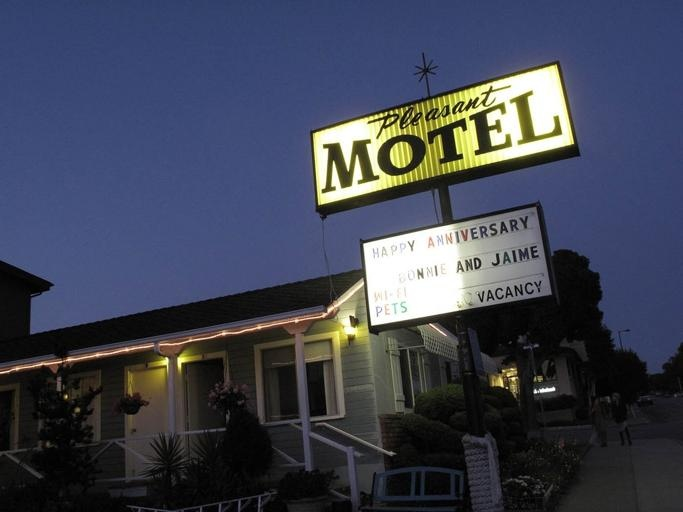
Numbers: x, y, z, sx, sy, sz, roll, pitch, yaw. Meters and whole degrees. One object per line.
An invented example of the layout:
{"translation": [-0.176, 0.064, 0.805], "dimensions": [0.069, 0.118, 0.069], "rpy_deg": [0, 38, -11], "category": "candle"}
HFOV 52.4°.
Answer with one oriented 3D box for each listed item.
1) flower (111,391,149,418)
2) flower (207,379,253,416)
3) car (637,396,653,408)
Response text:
{"translation": [-5.388, 3.839, 17.896], "dimensions": [0.675, 0.511, 0.665], "rpy_deg": [12, -18, -43], "category": "flower"}
{"translation": [-2.646, 3.355, 16.407], "dimensions": [0.927, 0.922, 0.966], "rpy_deg": [-3, 2, -7], "category": "flower"}
{"translation": [30.926, 14.862, 70.806], "dimensions": [1.741, 1.329, 2.992], "rpy_deg": [-3, -10, 22], "category": "car"}
